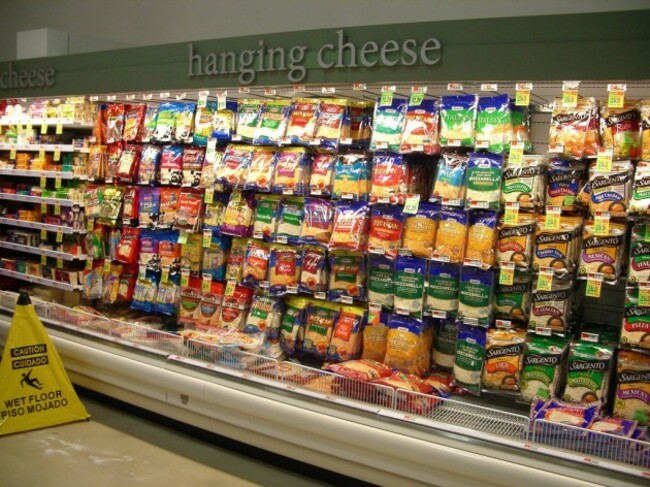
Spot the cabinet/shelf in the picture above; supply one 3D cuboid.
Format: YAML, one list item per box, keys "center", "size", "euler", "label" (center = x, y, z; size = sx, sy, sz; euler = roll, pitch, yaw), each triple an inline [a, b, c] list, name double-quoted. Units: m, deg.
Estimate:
- center: [0.119, 0.383, 3.623]
  size: [3.177, 1.263, 0.621]
  euler: [11, 12, 32]
  label: "cabinet/shelf"
